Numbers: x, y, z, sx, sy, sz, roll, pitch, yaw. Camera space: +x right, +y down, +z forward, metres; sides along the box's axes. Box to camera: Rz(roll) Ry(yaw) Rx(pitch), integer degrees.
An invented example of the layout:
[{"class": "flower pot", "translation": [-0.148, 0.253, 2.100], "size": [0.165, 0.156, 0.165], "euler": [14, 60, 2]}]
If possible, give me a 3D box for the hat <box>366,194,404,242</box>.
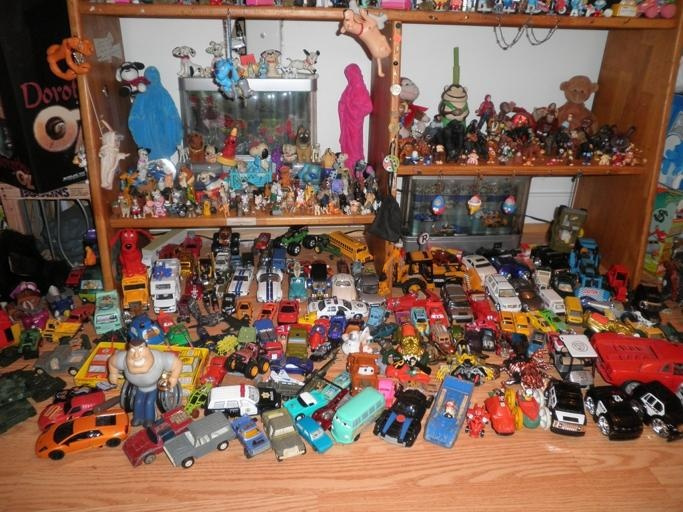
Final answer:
[{"class": "hat", "translation": [0.402, -0.332, 4.434], "size": [0.269, 0.425, 0.218], "euler": [9, 23, 17]}]
